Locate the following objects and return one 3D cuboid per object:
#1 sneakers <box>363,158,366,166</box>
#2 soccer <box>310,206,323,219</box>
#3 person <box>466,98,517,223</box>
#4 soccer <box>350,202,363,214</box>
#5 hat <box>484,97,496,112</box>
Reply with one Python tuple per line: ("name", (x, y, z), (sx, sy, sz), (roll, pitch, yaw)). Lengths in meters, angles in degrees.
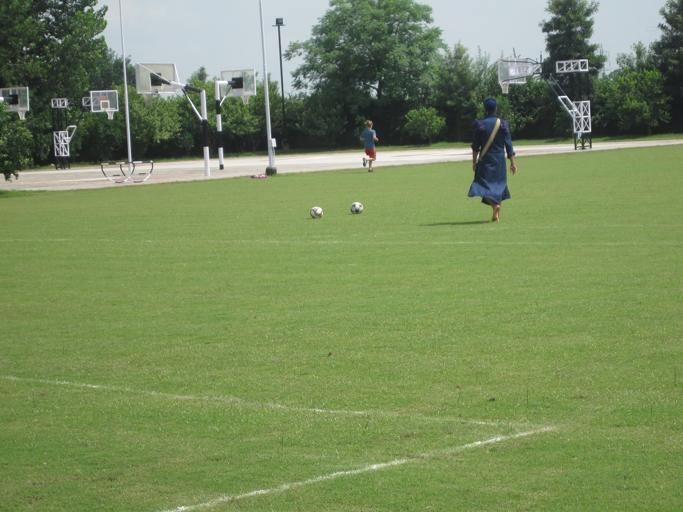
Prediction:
("sneakers", (0.876, -3.506, 54.686), (0.108, 0.340, 0.133), (0, 4, 18))
("soccer", (-0.619, -1.043, 37.079), (0.291, 0.306, 0.301), (-14, 12, -1))
("person", (3.582, -2.270, 35.026), (1.028, 2.937, 0.531), (-3, 2, 2))
("soccer", (0.412, -1.229, 37.823), (0.254, 0.264, 0.311), (1, 7, -2))
("hat", (3.558, -3.609, 35.062), (0.272, 0.365, 0.819), (-2, 2, 5))
